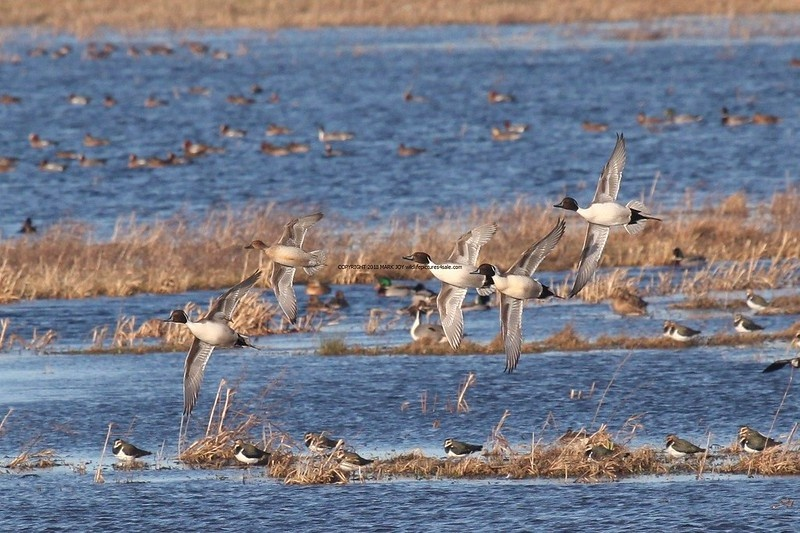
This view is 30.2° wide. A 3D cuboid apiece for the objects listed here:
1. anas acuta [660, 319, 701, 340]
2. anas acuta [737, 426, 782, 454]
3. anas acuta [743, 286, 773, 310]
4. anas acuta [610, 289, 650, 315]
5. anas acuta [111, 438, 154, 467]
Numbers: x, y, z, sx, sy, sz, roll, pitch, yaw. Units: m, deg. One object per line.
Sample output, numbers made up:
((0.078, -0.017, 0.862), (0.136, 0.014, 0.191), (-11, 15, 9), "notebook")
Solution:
((8.409, 1.931, 44.668), (0.741, 0.421, 1.195), (-12, -10, 33), "anas acuta")
((8.913, 4.406, 37.273), (0.526, 0.643, 0.955), (-48, 18, -15), "anas acuta")
((11.409, 1.169, 47.327), (0.678, 0.731, 0.920), (4, 18, 14), "anas acuta")
((7.671, 1.219, 48.205), (1.093, 0.669, 0.791), (-9, 6, -35), "anas acuta")
((-6.943, 4.747, 37.803), (1.074, 0.605, 0.535), (-2, 10, -3), "anas acuta")
